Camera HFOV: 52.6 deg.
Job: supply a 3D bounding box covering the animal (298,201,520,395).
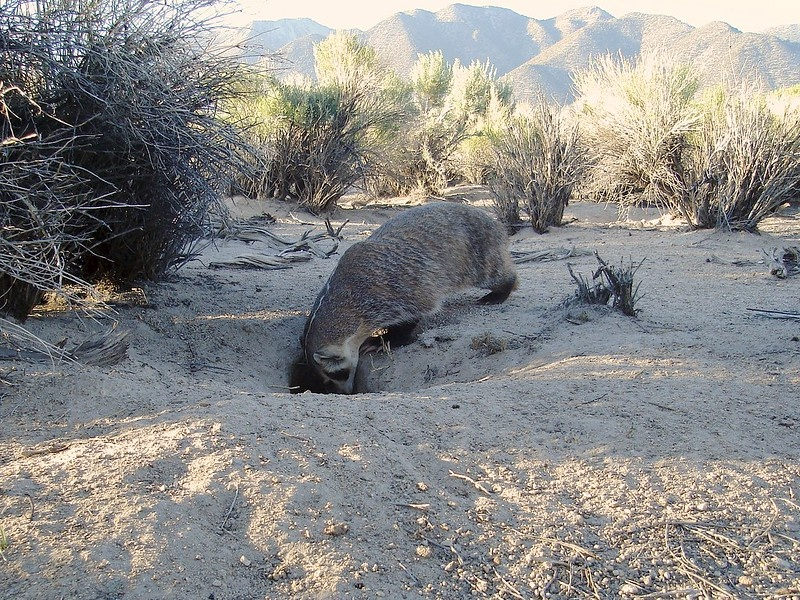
[{"bbox_3d":[0.126,-0.048,6.963,2.246,1.063,1.078,-36,15,-18],"label":"animal"}]
